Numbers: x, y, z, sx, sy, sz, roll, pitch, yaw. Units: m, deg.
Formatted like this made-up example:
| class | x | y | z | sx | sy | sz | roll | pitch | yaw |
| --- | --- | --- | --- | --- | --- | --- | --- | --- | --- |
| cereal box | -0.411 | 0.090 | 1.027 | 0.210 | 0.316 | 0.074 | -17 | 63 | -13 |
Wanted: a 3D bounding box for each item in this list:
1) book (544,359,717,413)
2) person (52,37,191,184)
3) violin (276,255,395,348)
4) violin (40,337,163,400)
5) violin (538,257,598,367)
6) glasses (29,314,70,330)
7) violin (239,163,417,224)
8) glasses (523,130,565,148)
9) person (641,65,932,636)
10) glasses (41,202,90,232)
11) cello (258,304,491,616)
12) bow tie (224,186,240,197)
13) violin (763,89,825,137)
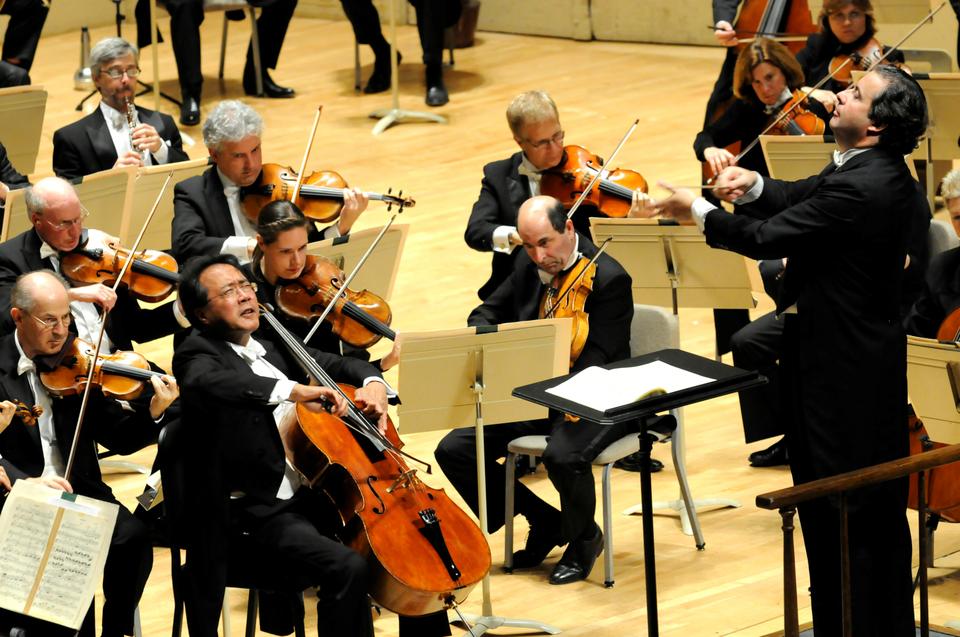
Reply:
| class | x | y | z | sx | sy | sz | roll | pitch | yaw |
| --- | --- | --- | --- | --- | --- | --- | --- | --- | --- |
| book | 0.427 | 0.199 | 3.081 | 0.251 | 0.033 | 0.204 | -15 | 16 | -27 |
| person | -1.916 | -1.127 | 5.498 | 0.674 | 0.729 | 0.478 | -3 | 5 | -21 |
| violin | -0.497 | -0.010 | 4.149 | 0.629 | 0.086 | 0.252 | 29 | 53 | 33 |
| violin | -1.477 | 0.207 | 3.991 | 0.447 | 0.185 | 0.089 | 17 | -34 | -30 |
| violin | 0.364 | -0.042 | 4.170 | 0.136 | 0.420 | 0.219 | 24 | -27 | -28 |
| glasses | -1.578 | 0.011 | 3.833 | 0.046 | 0.052 | 0.146 | 2 | 5 | 36 |
| violin | -0.739 | -0.572 | 4.953 | 0.839 | 0.112 | 0.321 | -3 | -38 | -25 |
| glasses | 0.315 | -0.840 | 4.781 | 0.217 | 0.092 | 0.108 | -3 | 5 | -29 |
| person | 1.135 | 0.142 | 3.502 | 0.661 | 1.913 | 0.403 | 1 | 5 | 22 |
| glasses | -1.770 | -0.432 | 4.410 | 0.145 | 0.112 | 0.075 | -5 | 6 | -41 |
| cello | -0.422 | 0.454 | 3.579 | 0.237 | 1.176 | 0.404 | -46 | -20 | 24 |
| bow tie | -1.125 | -0.578 | 4.690 | 0.042 | 0.058 | 0.021 | -6 | 20 | -25 |
| violin | 1.617 | -1.003 | 5.259 | 0.119 | 0.207 | 0.395 | 31 | 0 | 38 |
